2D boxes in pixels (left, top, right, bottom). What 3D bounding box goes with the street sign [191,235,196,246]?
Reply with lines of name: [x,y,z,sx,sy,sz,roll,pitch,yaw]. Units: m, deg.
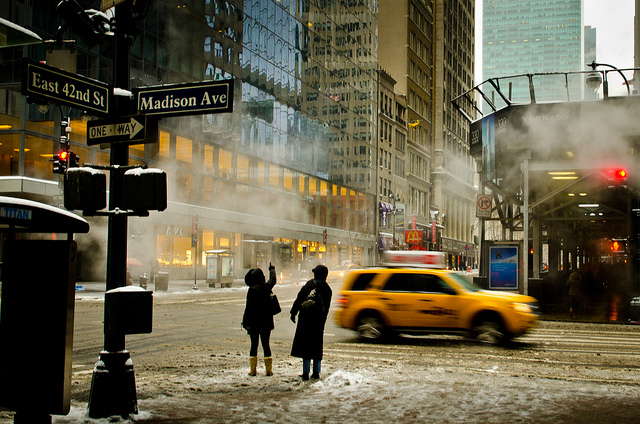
street sign: [-7.417,1.648,45.005,0.183,0.606,0.823,1,-8,-13]

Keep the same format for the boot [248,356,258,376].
boot: [-1.679,3.843,19.051,0.210,0.476,0.294,0,-7,-11]

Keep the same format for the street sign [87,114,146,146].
street sign: [-4.483,-1.843,16.646,1.299,0.134,0.653,-10,-46,-26]

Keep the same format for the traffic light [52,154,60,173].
traffic light: [-9.270,-1.740,26.880,0.168,0.801,0.921,2,-8,-22]

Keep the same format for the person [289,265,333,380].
person: [-0.237,2.738,19.049,0.971,2.790,0.615,-1,-7,-3]

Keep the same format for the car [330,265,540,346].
car: [3.773,3.022,24.579,5.508,2.389,2.802,-3,-7,13]

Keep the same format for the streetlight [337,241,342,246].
streetlight: [1.952,3.142,76.777,0.373,0.414,0.409,2,-3,4]

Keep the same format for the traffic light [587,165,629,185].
traffic light: [11.504,-1.522,29.986,0.963,0.531,1.480,1,-2,4]

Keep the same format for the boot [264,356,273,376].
boot: [-1.284,3.846,19.051,0.200,0.476,0.279,-1,-7,-4]
